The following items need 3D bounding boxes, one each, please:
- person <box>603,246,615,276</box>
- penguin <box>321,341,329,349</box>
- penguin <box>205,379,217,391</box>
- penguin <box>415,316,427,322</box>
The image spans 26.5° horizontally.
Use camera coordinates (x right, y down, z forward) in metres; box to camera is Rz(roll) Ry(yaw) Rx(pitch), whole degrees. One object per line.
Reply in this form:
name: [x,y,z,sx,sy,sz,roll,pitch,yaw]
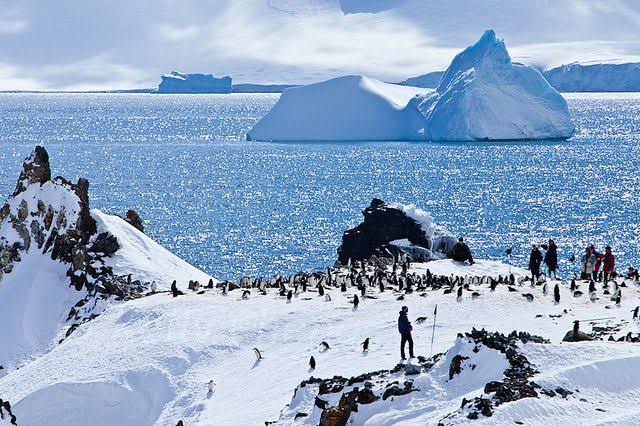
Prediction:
person: [38.138,6.293,179.025,1.364,4.007,0.967,-5,7,-27]
penguin: [0.542,17.005,175.034,1.207,0.982,0.535,-1,6,-1]
penguin: [-14.128,22.085,173.733,1.133,1.399,0.646,-2,6,-3]
penguin: [13.040,13.743,175.954,1.470,0.554,0.278,-1,6,2]
